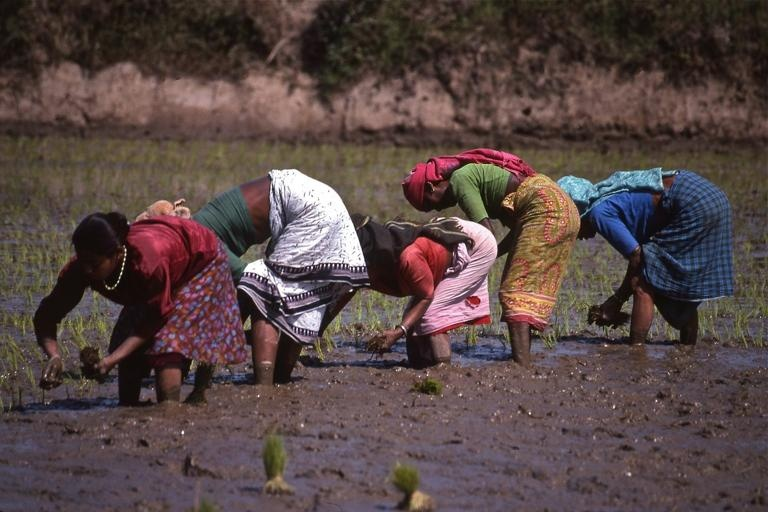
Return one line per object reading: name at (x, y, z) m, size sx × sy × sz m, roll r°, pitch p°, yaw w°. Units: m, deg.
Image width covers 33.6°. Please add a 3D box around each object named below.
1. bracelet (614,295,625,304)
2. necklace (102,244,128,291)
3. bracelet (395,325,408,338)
bracelet at (3.174, 0.611, 17.162) m, size 0.114 × 0.113 × 0.028 m, roll -3°, pitch -1°, yaw 2°
necklace at (-3.190, 0.196, 15.328) m, size 0.368 × 0.464 × 0.093 m, roll 19°, pitch 12°, yaw 32°
bracelet at (0.223, 0.966, 16.309) m, size 0.117 × 0.139 × 0.207 m, roll 3°, pitch -1°, yaw 10°
